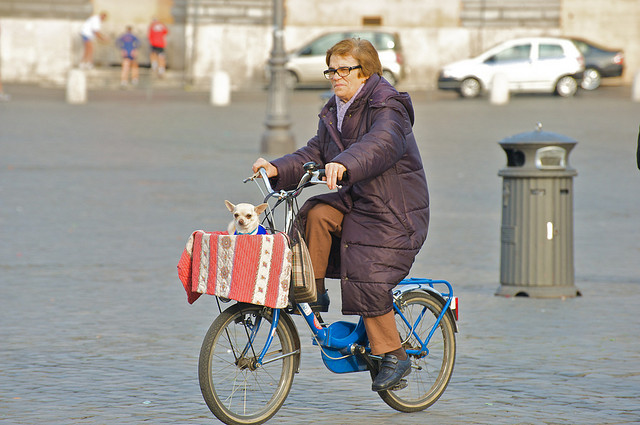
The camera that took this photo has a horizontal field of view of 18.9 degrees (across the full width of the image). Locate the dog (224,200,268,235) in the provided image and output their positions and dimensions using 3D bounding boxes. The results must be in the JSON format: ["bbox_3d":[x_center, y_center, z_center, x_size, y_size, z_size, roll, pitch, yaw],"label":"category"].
[{"bbox_3d":[-1.057,0.054,27.864,0.602,0.496,0.226,-2,8,-2],"label":"dog"}]

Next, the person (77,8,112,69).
[{"bbox_3d":[-5.023,-3.887,42.569,0.588,1.375,0.530,1,-3,2],"label":"person"}]

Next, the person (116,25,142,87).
[{"bbox_3d":[-4.167,-3.449,41.961,0.544,1.370,0.444,1,-5,6],"label":"person"}]

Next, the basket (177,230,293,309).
[{"bbox_3d":[-1.200,0.849,27.861,1.615,1.168,0.311,-2,9,-1],"label":"basket"}]

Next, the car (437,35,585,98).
[{"bbox_3d":[5.020,-3.730,49.421,5.272,1.811,1.649,1,-8,4],"label":"car"}]
